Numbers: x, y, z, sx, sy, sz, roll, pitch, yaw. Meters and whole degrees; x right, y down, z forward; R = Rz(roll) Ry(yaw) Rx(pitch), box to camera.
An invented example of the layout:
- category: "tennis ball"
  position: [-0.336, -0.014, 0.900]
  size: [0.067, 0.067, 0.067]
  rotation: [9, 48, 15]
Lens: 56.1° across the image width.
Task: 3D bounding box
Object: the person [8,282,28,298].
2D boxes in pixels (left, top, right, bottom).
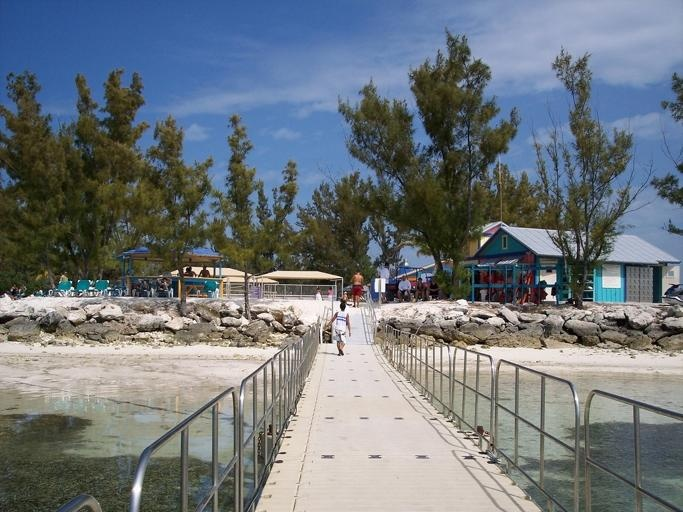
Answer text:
- category: "person"
  position: [-22.175, 2.430, 44.178]
  size: [1.622, 1.257, 1.188]
  rotation: [-1, 0, 20]
